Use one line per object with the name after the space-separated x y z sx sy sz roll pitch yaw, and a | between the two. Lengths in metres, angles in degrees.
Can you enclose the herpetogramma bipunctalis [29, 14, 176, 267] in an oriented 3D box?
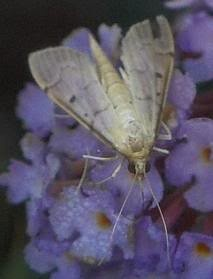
0.015 -0.007 0.469 0.069 0.248 0.175 -37 49 21 | herpetogramma bipunctalis
